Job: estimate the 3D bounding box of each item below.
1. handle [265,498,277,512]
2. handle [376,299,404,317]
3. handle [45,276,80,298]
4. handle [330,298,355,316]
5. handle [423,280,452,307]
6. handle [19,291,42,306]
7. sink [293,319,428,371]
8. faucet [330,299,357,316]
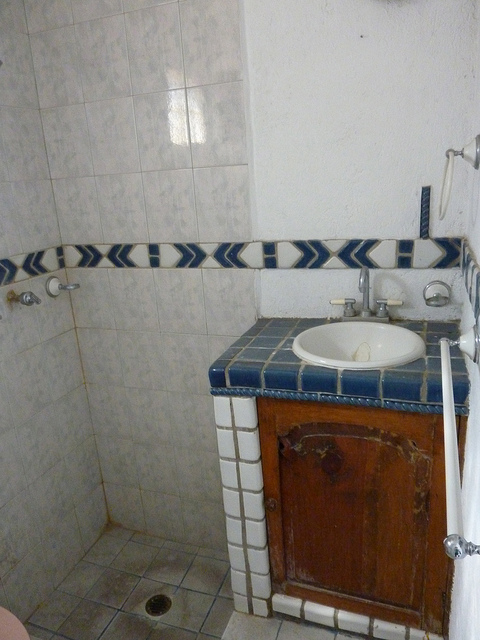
[{"bbox_3d":[0.095,0.559,1.685,0.037,0.039,0.010,8,10,12],"label":"handle"},{"bbox_3d":[0.469,-0.042,1.750,0.078,0.055,0.046,9,22,17],"label":"handle"},{"bbox_3d":[-0.659,-0.124,2.118,0.128,0.081,0.077,2,3,24],"label":"handle"},{"bbox_3d":[0.337,-0.037,1.795,0.079,0.063,0.045,-7,-4,15],"label":"handle"},{"bbox_3d":[0.604,-0.079,1.713,0.073,0.074,0.027,-1,14,19],"label":"handle"},{"bbox_3d":[-0.721,-0.071,1.922,0.086,0.042,0.037,0,15,23],"label":"handle"},{"bbox_3d":[0.339,0.109,1.614,0.360,0.114,0.379,-6,13,0],"label":"sink"},{"bbox_3d":[0.332,-0.038,1.790,0.076,0.060,0.044,-5,10,16],"label":"faucet"}]
